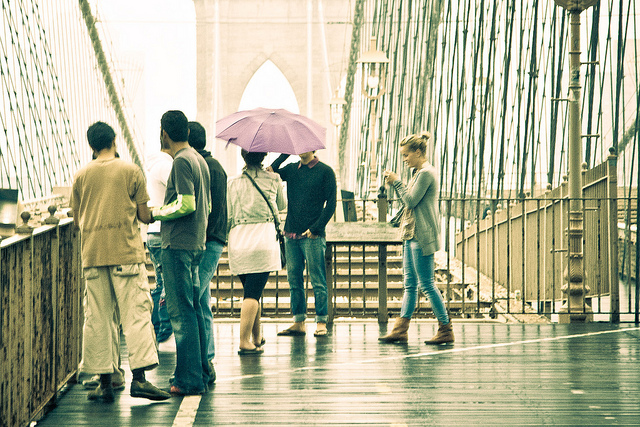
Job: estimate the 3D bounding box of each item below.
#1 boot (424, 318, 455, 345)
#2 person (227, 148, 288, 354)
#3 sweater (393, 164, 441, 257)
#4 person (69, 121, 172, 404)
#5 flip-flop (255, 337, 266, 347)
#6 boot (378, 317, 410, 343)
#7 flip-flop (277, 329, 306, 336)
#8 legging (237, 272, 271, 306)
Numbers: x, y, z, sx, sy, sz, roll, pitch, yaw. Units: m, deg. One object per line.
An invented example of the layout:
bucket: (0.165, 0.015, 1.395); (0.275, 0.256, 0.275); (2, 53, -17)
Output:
boot: (1.592, 1.668, 12.875); (0.509, 0.439, 0.200); (0, -3, 0)
person: (-0.850, 0.505, 12.392); (0.760, 2.647, 0.630); (-1, 12, -7)
sweater: (1.388, 0.009, 12.721); (0.575, 1.128, 0.642); (-4, -10, 16)
person: (-2.417, 0.588, 10.975); (0.989, 3.229, 0.800); (-2, 12, -9)
flip-flop: (-0.820, 1.745, 12.589); (0.119, 0.136, 0.347); (2, 2, 8)
boot: (1.025, 1.614, 12.855); (0.364, 0.317, 0.141); (-1, 3, 6)
flip-flop: (-0.415, 1.671, 13.190); (0.374, 0.113, 0.145); (3, -4, -1)
legging: (-0.845, 0.944, 12.369); (0.430, 0.667, 0.352); (3, 4, 6)
